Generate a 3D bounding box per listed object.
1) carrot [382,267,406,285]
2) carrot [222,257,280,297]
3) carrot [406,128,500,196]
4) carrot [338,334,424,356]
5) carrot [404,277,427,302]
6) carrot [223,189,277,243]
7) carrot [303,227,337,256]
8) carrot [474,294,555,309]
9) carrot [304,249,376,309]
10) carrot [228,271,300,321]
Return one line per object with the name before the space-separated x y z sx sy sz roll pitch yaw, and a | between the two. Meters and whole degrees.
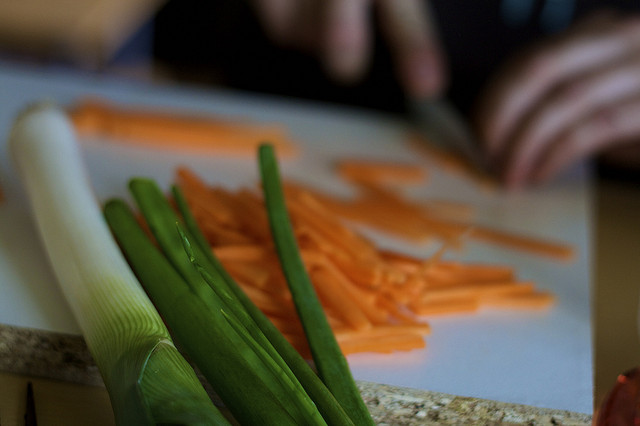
carrot | 0.141 0.118 1.102 0.033 0.011 0.034 -30 80 -13
carrot | -0.130 0.124 1.113 0.097 0.026 0.025 33 -3 10
carrot | 0.243 -0.106 1.111 0.099 0.127 0.163 -9 23 -12
carrot | 0.121 0.246 1.093 0.188 0.049 0.056 -3 7 8
carrot | 0.183 0.143 1.101 0.029 0.049 0.013 33 -1 4
carrot | -0.138 0.015 1.149 0.068 0.127 0.034 -38 4 -4
carrot | 0.002 0.053 1.117 0.069 0.019 0.017 33 19 16
carrot | 0.366 0.165 1.085 0.144 0.022 0.015 -3 29 2
carrot | 0.055 0.123 1.129 0.083 0.096 0.155 -16 28 -33
carrot | -0.097 0.170 1.113 0.176 0.031 0.052 27 48 4
